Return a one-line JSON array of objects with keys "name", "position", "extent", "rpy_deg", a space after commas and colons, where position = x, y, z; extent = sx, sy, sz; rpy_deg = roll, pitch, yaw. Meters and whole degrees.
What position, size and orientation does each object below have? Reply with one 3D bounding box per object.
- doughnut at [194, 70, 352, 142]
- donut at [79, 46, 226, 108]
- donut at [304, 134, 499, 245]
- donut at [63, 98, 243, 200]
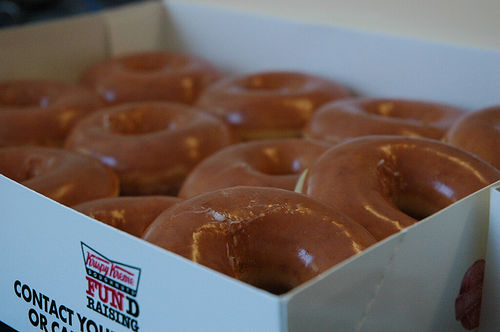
[{"name": "doughnut", "position": [0.056, -0.142, 1.094], "extent": [0.195, 0.083, 0.210], "rpy_deg": [-3, 19, -2]}, {"name": "donut", "position": [-0.237, -0.204, 1.284], "extent": [0.378, 0.158, 0.375], "rpy_deg": [-5, 6, -33]}, {"name": "donut", "position": [0.277, 0.029, 0.982], "extent": [0.228, 0.099, 0.244], "rpy_deg": [-2, 19, -5]}, {"name": "donut", "position": [-0.235, -0.034, 1.203], "extent": [0.398, 0.167, 0.417], "rpy_deg": [-7, 18, -14]}]
